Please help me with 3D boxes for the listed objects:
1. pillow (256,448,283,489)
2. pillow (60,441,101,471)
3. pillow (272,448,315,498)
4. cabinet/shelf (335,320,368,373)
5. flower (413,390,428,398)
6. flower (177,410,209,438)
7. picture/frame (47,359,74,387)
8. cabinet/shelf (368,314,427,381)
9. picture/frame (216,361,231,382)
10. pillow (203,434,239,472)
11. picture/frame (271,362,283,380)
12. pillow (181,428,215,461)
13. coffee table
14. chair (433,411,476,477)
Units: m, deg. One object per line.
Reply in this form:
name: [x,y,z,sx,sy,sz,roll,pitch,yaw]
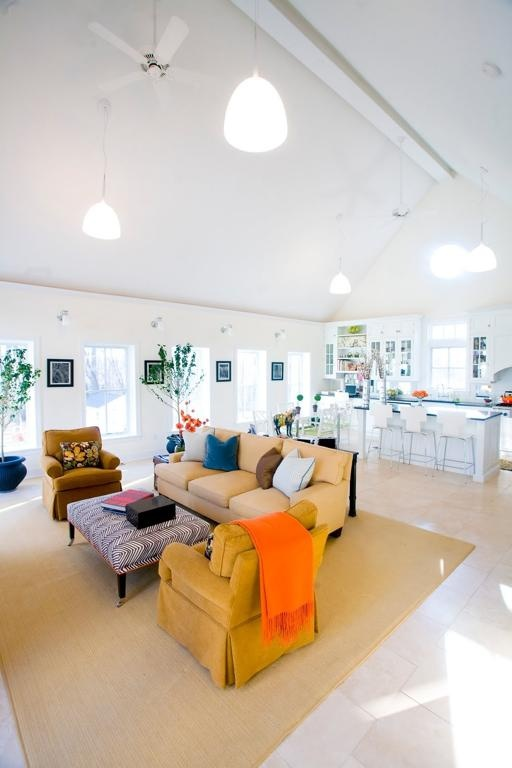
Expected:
pillow: [0.107,0.714,4.278,0.201,0.252,0.136,25,0,39]
pillow: [-1.697,0.705,5.029,0.367,0.249,0.274,-4,9,-22]
pillow: [0.265,0.704,4.087,0.203,0.336,0.376,15,-1,-25]
cabinet/shelf: [1.848,-0.652,10.195,0.285,1.015,0.790,-5,10,-28]
flower: [2.479,0.180,8.070,0.177,0.071,0.178,0,0,-35]
flower: [-0.758,0.475,5.894,0.344,0.200,0.463,2,-2,-8]
picture/frame: [-2.371,-0.123,6.248,0.030,0.262,0.268,4,-12,29]
cabinet/shelf: [2.438,-0.608,8.949,0.374,1.457,1.145,0,-1,-35]
picture/frame: [-0.558,-0.187,8.418,0.021,0.325,0.309,3,4,38]
pillow: [-0.332,0.668,4.889,0.281,0.286,0.108,-1,-16,16]
picture/frame: [0.349,-0.216,9.551,0.023,0.313,0.301,3,4,39]
pillow: [-0.581,0.618,5.159,0.266,0.285,0.106,-6,-24,28]
coffee table: [-0.748,0.964,3.470,0.520,0.292,0.773,-8,11,-38]
chair: [2.298,0.696,6.180,0.534,0.839,0.556,6,11,37]
